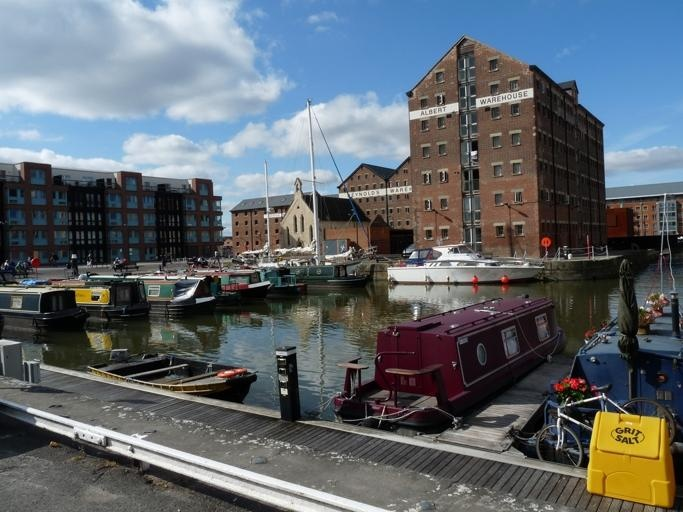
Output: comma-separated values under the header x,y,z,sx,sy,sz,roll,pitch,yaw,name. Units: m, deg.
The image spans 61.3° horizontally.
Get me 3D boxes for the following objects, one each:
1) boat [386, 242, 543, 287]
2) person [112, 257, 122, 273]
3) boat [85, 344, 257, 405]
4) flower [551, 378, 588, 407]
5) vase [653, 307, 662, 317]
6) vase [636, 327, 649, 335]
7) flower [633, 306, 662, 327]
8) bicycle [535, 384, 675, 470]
x,y,z,sx,sy,sz,roll,pitch,yaw,name
9.838,1.095,48.163,12.065,2.980,4.612,-1,2,27,boat
-26.971,1.095,68.006,1.202,1.360,2.562,3,8,-17,person
-5.120,3.655,17.332,5.288,0.930,2.644,-1,2,41,boat
4.736,2.831,11.807,0.641,0.428,0.619,-2,3,-18,flower
7.854,1.385,14.229,0.212,0.242,0.108,-3,10,-38,vase
6.944,1.703,13.113,0.216,0.149,0.209,0,-3,17,vase
6.984,1.379,13.057,0.720,0.402,0.710,1,1,-4,flower
5.291,3.285,11.372,2.721,1.457,1.307,-3,3,16,bicycle
